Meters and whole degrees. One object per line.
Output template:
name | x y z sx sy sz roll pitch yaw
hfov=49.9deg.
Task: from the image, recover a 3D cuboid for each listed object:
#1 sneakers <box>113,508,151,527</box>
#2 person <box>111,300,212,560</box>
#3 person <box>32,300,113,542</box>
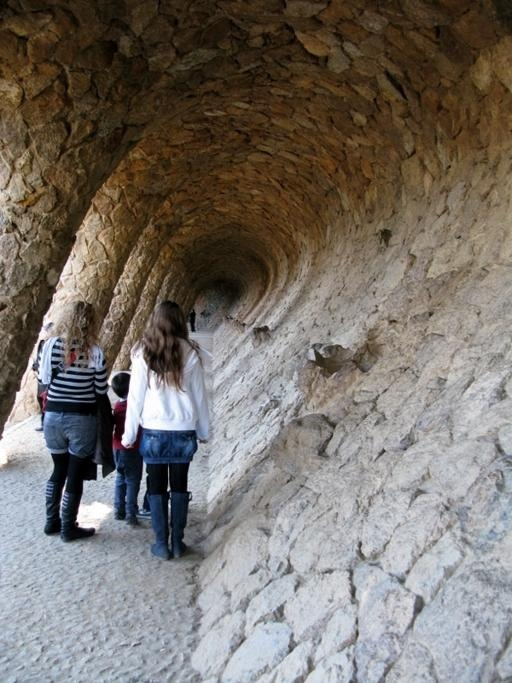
sneakers | -0.706 0.996 3.101 0.159 0.057 0.197 4 -11 -6
person | -0.451 0.428 2.774 0.414 1.099 0.357 6 1 -4
person | -0.915 0.393 2.872 0.434 1.167 0.407 3 0 -20
